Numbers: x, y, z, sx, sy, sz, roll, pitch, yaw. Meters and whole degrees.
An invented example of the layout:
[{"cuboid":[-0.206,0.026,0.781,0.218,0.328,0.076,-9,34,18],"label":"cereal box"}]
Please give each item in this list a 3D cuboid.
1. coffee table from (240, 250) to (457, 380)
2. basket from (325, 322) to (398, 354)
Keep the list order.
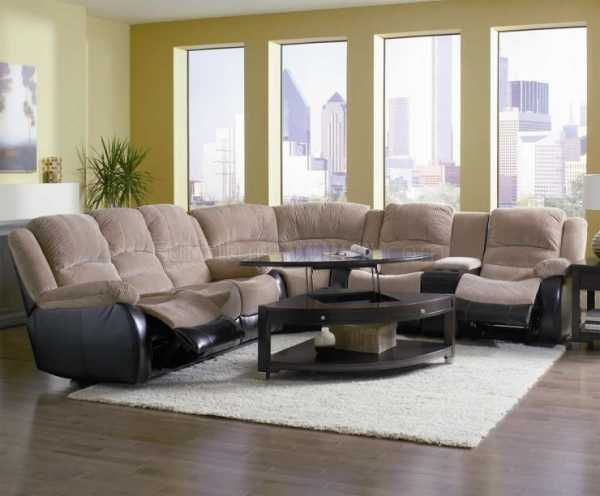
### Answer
[{"cuboid":[0.340,0.429,3.492,1.044,0.610,1.025,1,3,21],"label":"coffee table"},{"cuboid":[0.418,0.606,3.580,0.276,0.129,0.274,1,2,21],"label":"basket"}]
